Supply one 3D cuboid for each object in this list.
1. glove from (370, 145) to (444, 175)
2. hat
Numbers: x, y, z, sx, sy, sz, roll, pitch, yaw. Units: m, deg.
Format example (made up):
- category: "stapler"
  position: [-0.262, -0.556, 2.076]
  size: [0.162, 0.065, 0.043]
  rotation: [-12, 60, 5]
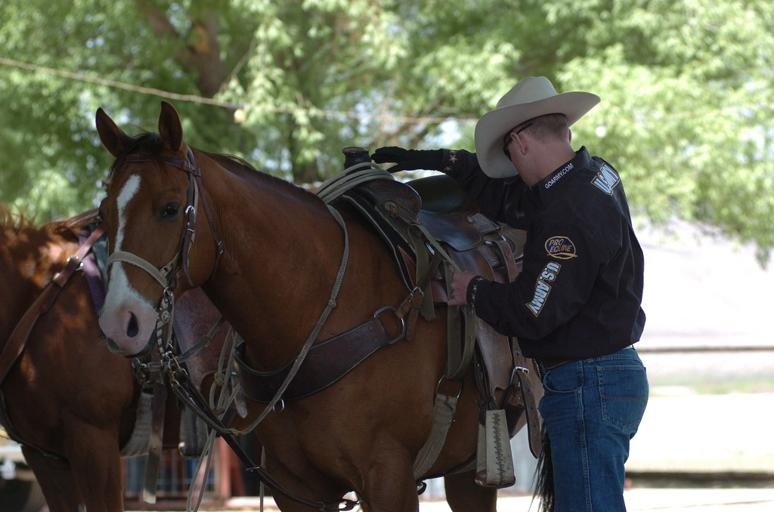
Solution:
- category: "glove"
  position: [0.224, -0.913, 13.299]
  size: [0.901, 0.280, 0.232]
  rotation: [0, 20, 5]
- category: "hat"
  position: [1.177, -1.205, 12.827]
  size: [0.901, 0.399, 0.971]
  rotation: [10, -42, -45]
